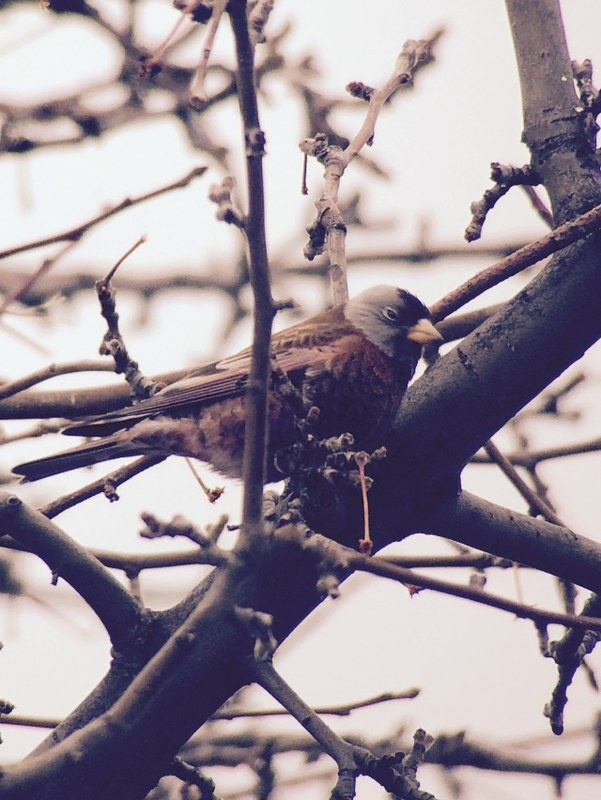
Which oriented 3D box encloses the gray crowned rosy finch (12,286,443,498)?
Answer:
[{"bbox_3d":[-0.168,-0.004,4.032,0.890,0.259,0.484,-6,-46,-9],"label":"gray crowned rosy finch"}]
